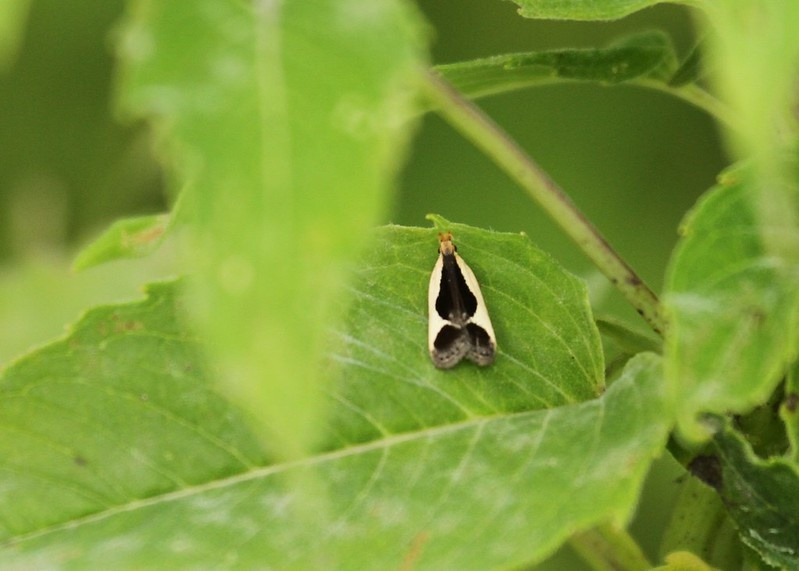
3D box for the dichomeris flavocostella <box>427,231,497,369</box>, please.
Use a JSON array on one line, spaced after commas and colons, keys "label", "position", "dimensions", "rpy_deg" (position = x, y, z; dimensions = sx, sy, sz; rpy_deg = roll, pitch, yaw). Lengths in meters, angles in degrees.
[{"label": "dichomeris flavocostella", "position": [0.101, 0.022, 1.626], "dimensions": [0.116, 0.272, 0.035], "rpy_deg": [-5, -28, -4]}]
